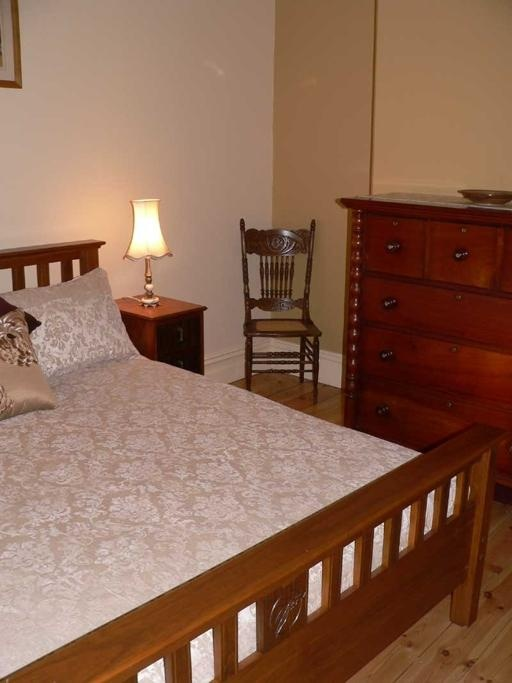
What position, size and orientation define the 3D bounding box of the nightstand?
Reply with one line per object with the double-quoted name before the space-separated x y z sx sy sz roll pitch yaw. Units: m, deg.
"nightstand" -0.507 0.001 2.868 0.213 0.324 0.212 26 39 35
